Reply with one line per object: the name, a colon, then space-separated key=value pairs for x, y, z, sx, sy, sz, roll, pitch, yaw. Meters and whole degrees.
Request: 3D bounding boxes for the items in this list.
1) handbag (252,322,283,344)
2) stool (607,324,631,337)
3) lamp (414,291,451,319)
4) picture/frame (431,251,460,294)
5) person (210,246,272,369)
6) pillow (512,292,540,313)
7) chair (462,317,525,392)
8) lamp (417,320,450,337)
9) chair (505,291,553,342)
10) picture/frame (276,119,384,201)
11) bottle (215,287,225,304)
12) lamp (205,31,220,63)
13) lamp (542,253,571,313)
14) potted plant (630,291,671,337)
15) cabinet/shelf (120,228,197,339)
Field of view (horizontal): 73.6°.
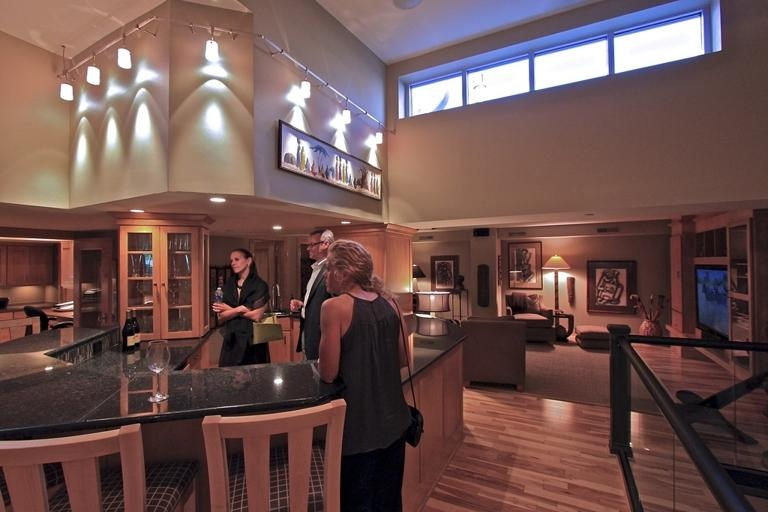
handbag: x=-1.251 y=0.811 z=5.520 sx=0.211 sy=0.259 sz=0.367 roll=-8 pitch=-8 yaw=44
stool: x=2.458 y=0.770 z=5.375 sx=0.207 sy=0.162 sz=0.201 roll=6 pitch=14 yaw=25
lamp: x=0.771 y=0.700 z=7.971 sx=0.552 sy=0.422 sz=0.554 roll=-1 pitch=1 yaw=9
picture/frame: x=1.577 y=0.406 z=12.774 sx=0.998 sy=1.209 sz=0.077 roll=2 pitch=-1 yaw=37
person: x=-1.641 y=0.632 z=5.965 sx=0.619 sy=1.320 sz=0.687 roll=-3 pitch=13 yaw=-14
pillow: x=3.223 y=1.062 z=11.577 sx=0.423 sy=0.418 sz=0.183 roll=3 pitch=-13 yaw=15
chair: x=1.702 y=1.467 z=8.165 sx=1.015 sy=1.114 sz=1.032 roll=0 pitch=-1 yaw=21
lamp: x=0.600 y=0.842 z=6.227 sx=0.247 sy=0.143 sz=0.247 roll=-2 pitch=-3 yaw=16
chair: x=3.161 y=1.294 z=10.960 sx=0.882 sy=1.117 sz=1.194 roll=-1 pitch=-10 yaw=10
picture/frame: x=-0.809 y=-1.335 z=7.370 sx=0.123 sy=1.110 sz=2.024 roll=8 pitch=15 yaw=31
bottle: x=-1.905 y=0.449 z=5.977 sx=0.081 sy=0.187 sz=0.244 roll=-3 pitch=13 yaw=-15
lamp: x=-2.006 y=-2.461 z=6.002 sx=0.164 sy=0.397 sz=0.266 roll=-4 pitch=14 yaw=-16
lamp: x=3.911 y=0.594 z=11.715 sx=0.592 sy=1.244 sz=0.629 roll=5 pitch=14 yaw=18
potted plant: x=5.359 y=1.220 z=10.220 sx=0.630 sy=0.798 sz=0.669 roll=7 pitch=12 yaw=42
cabinet/shelf: x=-3.162 y=0.369 z=7.340 sx=1.156 sy=1.599 sz=0.494 roll=-4 pitch=14 yaw=-17
